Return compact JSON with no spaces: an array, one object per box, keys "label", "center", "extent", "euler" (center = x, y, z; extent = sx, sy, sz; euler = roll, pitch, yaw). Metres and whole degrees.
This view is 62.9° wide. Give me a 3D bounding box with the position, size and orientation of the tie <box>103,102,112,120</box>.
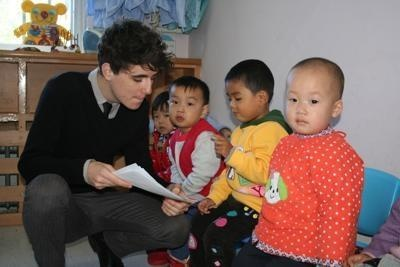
[{"label":"tie","center":[-0.514,-0.129,1.832],"extent":[0.055,0.072,0.022],"euler":[3,8,-33]}]
